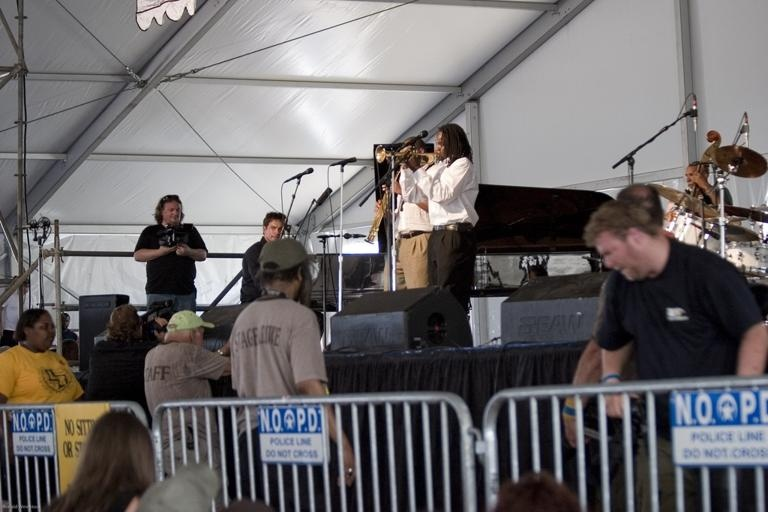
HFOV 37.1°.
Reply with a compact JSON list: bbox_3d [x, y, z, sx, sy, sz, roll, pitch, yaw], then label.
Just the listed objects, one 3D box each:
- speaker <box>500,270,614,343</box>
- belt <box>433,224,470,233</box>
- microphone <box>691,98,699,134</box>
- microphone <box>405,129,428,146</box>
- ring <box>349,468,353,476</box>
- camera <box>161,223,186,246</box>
[{"bbox_3d":[1.397,0.481,9.608,0.700,0.453,0.665,-6,-7,40],"label":"speaker"},{"bbox_3d":[0.621,-0.250,10.511,0.344,0.081,0.097,-2,-6,6],"label":"belt"},{"bbox_3d":[3.706,-1.724,13.719,0.075,0.420,0.255,-3,-6,15],"label":"microphone"},{"bbox_3d":[0.301,-1.107,10.799,0.097,0.100,0.357,-25,4,-43],"label":"microphone"},{"bbox_3d":[-0.250,1.655,8.644,0.039,0.058,0.035,-1,-6,-3],"label":"ring"},{"bbox_3d":[-2.143,-0.200,11.695,0.247,0.239,0.114,0,-6,-13],"label":"camera"}]
